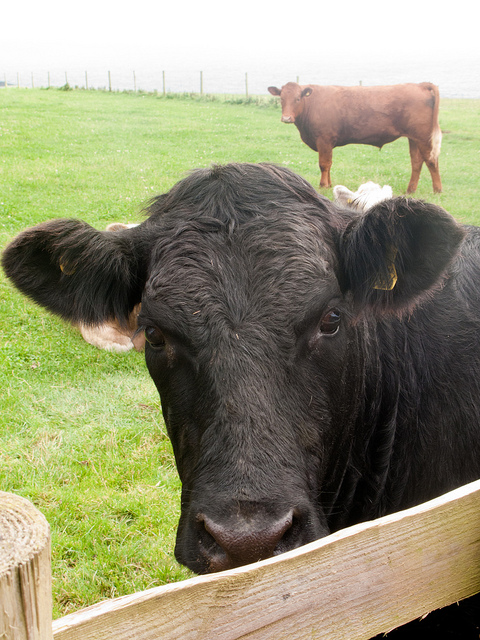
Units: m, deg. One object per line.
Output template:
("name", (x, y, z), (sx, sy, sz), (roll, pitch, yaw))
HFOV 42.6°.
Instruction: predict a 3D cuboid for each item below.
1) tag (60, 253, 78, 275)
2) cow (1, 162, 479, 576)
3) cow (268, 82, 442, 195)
("tag", (-0.788, -0.242, 2.802), (0.053, 0.057, 0.036), (5, 24, 5))
("cow", (0.301, 0.027, 3.086), (1.408, 1.412, 2.817), (-12, 0, 27))
("cow", (2.478, -3.734, 12.575), (3.555, 1.977, 1.057), (12, 22, 30))
